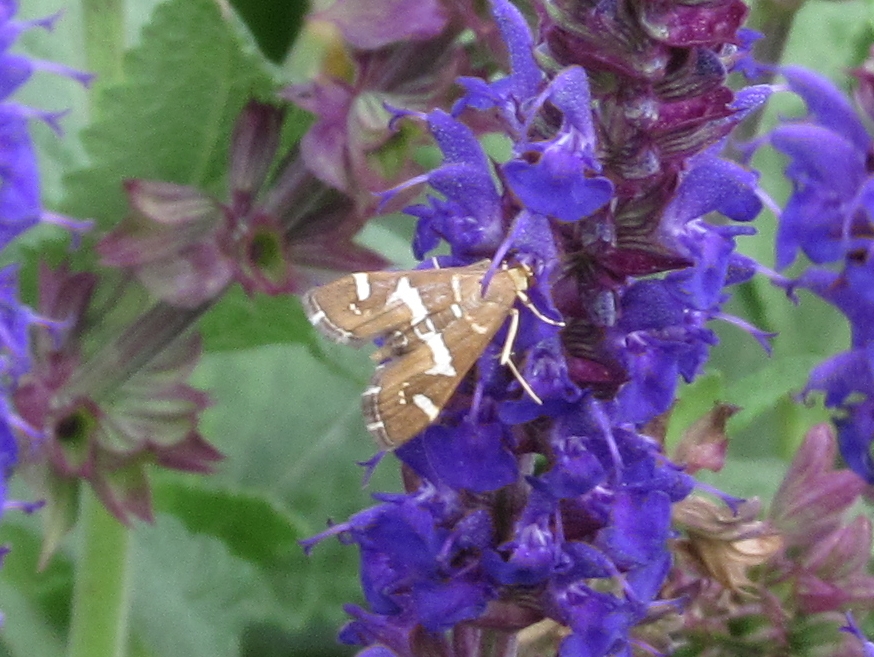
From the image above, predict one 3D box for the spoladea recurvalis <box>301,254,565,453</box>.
[{"bbox_3d":[-0.009,-0.011,0.874,0.140,0.110,0.148,-19,54,-27],"label":"spoladea recurvalis"}]
